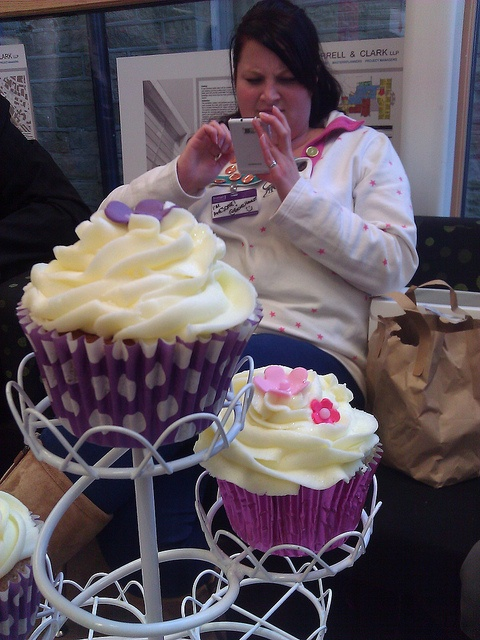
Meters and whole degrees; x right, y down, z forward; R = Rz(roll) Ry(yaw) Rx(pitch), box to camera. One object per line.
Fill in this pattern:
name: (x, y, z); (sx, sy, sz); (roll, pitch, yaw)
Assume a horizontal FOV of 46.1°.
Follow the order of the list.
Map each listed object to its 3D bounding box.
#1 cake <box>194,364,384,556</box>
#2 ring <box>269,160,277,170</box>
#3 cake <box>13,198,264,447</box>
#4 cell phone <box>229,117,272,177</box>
cake: (0.046, 0.169, 0.771); (0.224, 0.197, 0.244); (-1, 7, -8)
ring: (0.073, -0.337, 1.225); (0.005, 0.017, 0.018); (26, 0, 14)
cake: (-0.108, 0.008, 0.551); (0.213, 0.177, 0.198); (11, 24, 25)
cell phone: (0.026, -0.392, 1.274); (0.093, 0.122, 0.087); (5, 17, 18)
